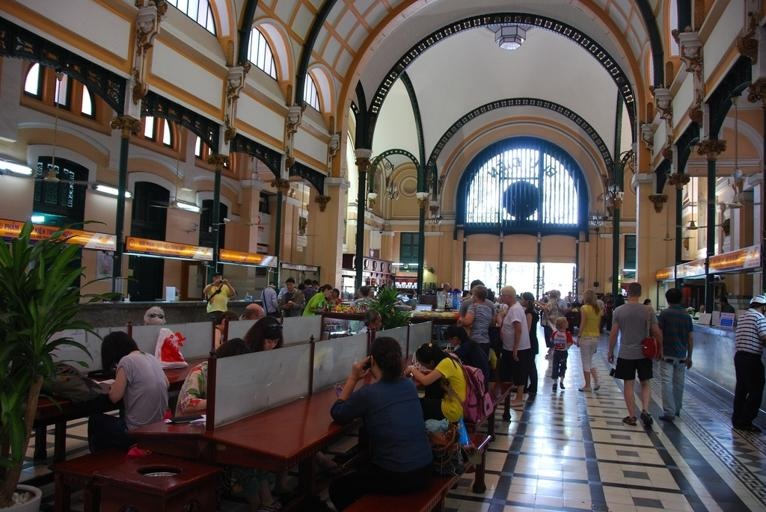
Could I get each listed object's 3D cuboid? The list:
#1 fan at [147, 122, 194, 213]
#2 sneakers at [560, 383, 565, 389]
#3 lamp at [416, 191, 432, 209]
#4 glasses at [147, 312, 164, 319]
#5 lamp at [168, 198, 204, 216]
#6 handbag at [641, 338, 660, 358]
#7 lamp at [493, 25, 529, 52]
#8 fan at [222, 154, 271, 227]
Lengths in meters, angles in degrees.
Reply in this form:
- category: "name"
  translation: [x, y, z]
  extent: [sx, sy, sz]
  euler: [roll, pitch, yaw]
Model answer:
- category: "fan"
  translation: [-7.650, -3.208, 19.350]
  extent: [0.311, 3.785, 2.681]
  euler: [-4, -10, 18]
- category: "sneakers"
  translation: [4.074, 2.968, 12.372]
  extent: [0.108, 0.149, 0.081]
  euler: [2, -11, -9]
- category: "lamp"
  translation: [2.170, -3.130, 30.490]
  extent: [0.521, 1.078, 0.957]
  euler: [-3, -4, 30]
- category: "glasses"
  translation: [-3.547, 0.944, 8.534]
  extent: [0.113, 0.108, 0.105]
  euler: [4, -2, -10]
- category: "lamp"
  translation: [-7.178, -1.855, 19.670]
  extent: [0.668, 0.459, 2.689]
  euler: [0, -4, -8]
- category: "handbag"
  translation: [4.627, 1.595, 9.434]
  extent: [0.324, 0.429, 0.227]
  euler: [-1, -4, 37]
- category: "lamp"
  translation: [5.572, -9.924, 24.087]
  extent: [1.059, 0.947, 1.316]
  euler: [-3, -5, 38]
- category: "fan"
  translation: [-5.868, -2.628, 23.391]
  extent: [1.400, 3.355, 0.645]
  euler: [2, -4, -28]
